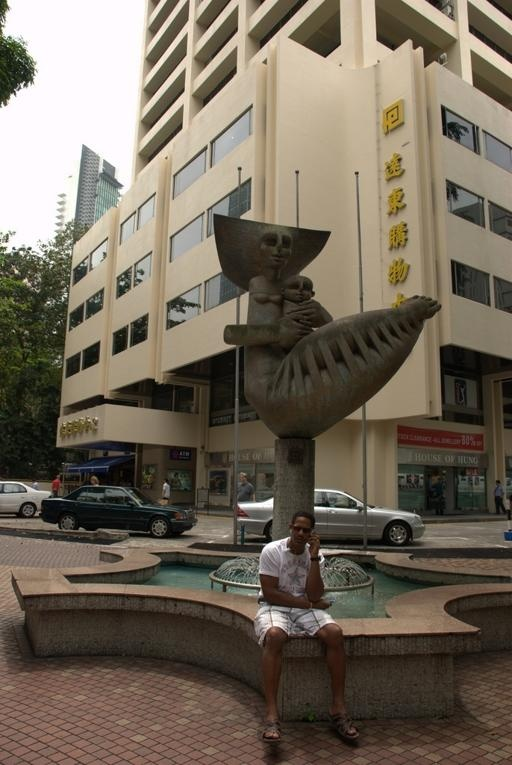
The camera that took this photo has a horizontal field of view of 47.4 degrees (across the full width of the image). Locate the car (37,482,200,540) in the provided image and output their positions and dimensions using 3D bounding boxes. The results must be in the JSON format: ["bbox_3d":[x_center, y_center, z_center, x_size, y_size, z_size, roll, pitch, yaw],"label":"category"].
[{"bbox_3d":[-3.987,3.757,17.142,4.095,1.247,1.765,-1,-9,15],"label":"car"}]

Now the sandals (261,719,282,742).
[{"bbox_3d":[0.082,1.855,3.101,0.102,0.086,0.310,-1,-20,3],"label":"sandals"}]

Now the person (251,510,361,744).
[{"bbox_3d":[0.272,1.408,3.488,0.555,1.212,0.741,-2,-7,-2],"label":"person"}]
